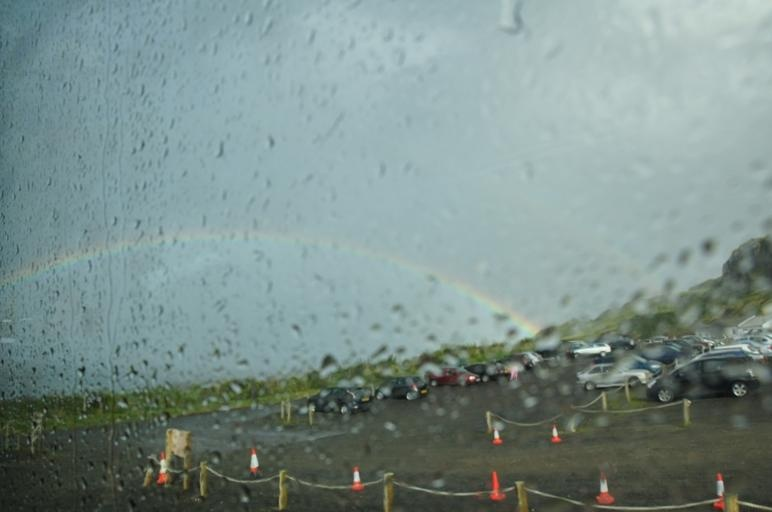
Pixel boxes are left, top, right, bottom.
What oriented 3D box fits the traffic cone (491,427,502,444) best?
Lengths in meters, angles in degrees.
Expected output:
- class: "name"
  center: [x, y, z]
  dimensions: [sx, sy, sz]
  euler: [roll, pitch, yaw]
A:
- class: "traffic cone"
  center: [2.732, 4.490, 26.851]
  dimensions: [0.310, 0.316, 0.457]
  euler: [-5, 82, -3]
